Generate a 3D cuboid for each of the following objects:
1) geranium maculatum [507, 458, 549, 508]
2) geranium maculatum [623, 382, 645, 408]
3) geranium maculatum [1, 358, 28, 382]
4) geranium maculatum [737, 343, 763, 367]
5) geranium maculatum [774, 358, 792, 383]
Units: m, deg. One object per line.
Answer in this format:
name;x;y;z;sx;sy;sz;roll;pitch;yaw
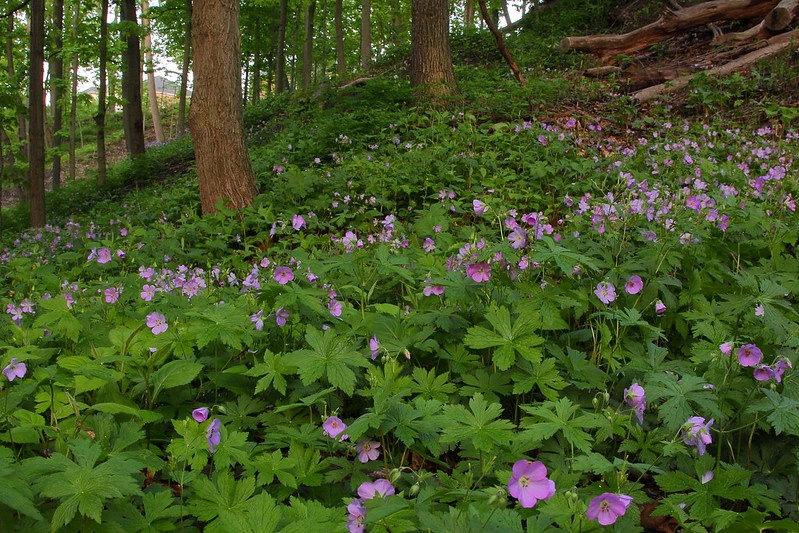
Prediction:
geranium maculatum;0.736;1.223;3.473;0.265;0.153;0.282;1;6;-20
geranium maculatum;1.623;0.895;4.098;0.136;0.164;0.107;1;13;25
geranium maculatum;-2.880;0.748;4.420;0.137;0.146;0.167;-15;16;-40
geranium maculatum;2.478;0.631;4.215;0.139;0.231;0.228;3;14;30
geranium maculatum;2.779;0.755;4.306;0.131;0.149;0.058;-14;23;-26
